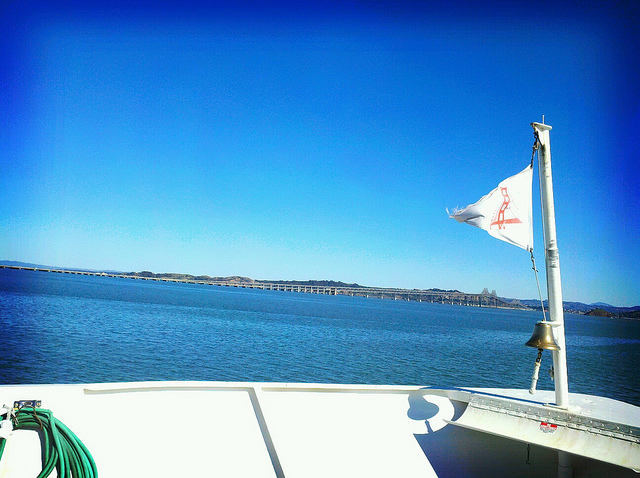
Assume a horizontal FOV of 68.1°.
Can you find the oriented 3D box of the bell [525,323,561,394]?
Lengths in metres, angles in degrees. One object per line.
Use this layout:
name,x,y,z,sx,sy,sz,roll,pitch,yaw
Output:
bell,2.782,1.511,6.034,0.444,0.930,0.465,17,-11,-18
